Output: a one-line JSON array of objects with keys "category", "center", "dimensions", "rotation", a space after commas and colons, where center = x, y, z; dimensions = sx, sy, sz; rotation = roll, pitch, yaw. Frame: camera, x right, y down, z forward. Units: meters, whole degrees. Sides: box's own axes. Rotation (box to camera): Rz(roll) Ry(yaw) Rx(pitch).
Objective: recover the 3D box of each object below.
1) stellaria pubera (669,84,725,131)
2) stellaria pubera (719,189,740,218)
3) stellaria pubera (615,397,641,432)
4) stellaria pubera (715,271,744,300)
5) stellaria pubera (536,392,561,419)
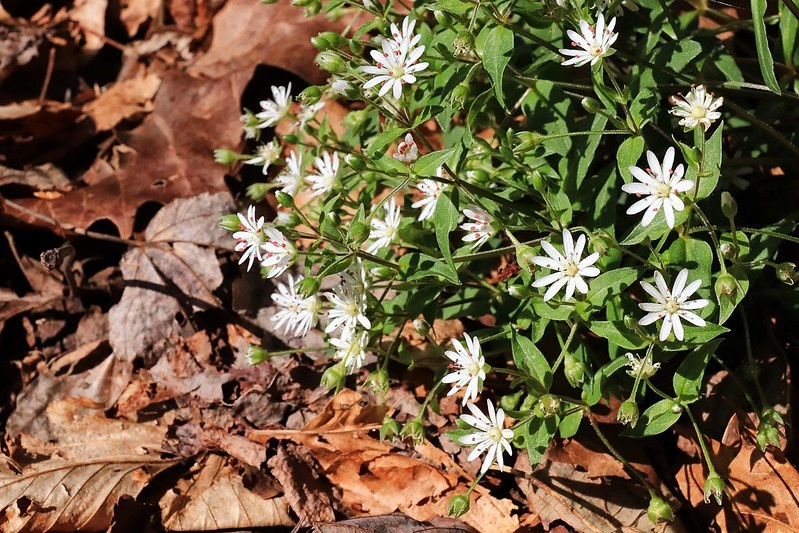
[{"category": "stellaria pubera", "center": [1.644, -0.887, 4.249], "dimensions": [0.278, 0.270, 0.127], "rotation": [11, 79, -29]}, {"category": "stellaria pubera", "center": [1.892, -0.358, 4.425], "dimensions": [0.073, 0.247, 0.080], "rotation": [-10, 32, 35]}, {"category": "stellaria pubera", "center": [1.255, 0.810, 4.233], "dimensions": [0.114, 0.207, 0.077], "rotation": [10, 15, -1]}, {"category": "stellaria pubera", "center": [1.742, 0.115, 4.089], "dimensions": [0.104, 0.160, 0.070], "rotation": [-12, 26, 17]}, {"category": "stellaria pubera", "center": [0.808, 0.763, 4.246], "dimensions": [0.138, 0.116, 0.111], "rotation": [-34, 73, 2]}]
